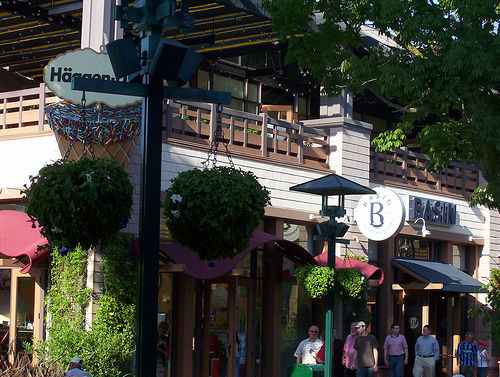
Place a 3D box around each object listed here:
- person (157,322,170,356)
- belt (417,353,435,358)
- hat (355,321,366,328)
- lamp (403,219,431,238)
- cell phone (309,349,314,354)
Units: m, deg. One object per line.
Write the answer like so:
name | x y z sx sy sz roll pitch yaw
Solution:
person | -2.026 3.486 25.698 0.153 0.820 0.401 -5 -8 32
belt | 4.433 4.226 28.025 0.396 0.075 0.145 -3 -8 12
hat | 2.655 3.270 26.666 0.181 0.115 0.134 9 -1 1
lamp | 4.602 1.098 30.672 0.712 0.650 0.423 -3 -5 4
cell phone | 1.412 3.747 25.553 0.091 0.100 0.055 -1 -7 2
